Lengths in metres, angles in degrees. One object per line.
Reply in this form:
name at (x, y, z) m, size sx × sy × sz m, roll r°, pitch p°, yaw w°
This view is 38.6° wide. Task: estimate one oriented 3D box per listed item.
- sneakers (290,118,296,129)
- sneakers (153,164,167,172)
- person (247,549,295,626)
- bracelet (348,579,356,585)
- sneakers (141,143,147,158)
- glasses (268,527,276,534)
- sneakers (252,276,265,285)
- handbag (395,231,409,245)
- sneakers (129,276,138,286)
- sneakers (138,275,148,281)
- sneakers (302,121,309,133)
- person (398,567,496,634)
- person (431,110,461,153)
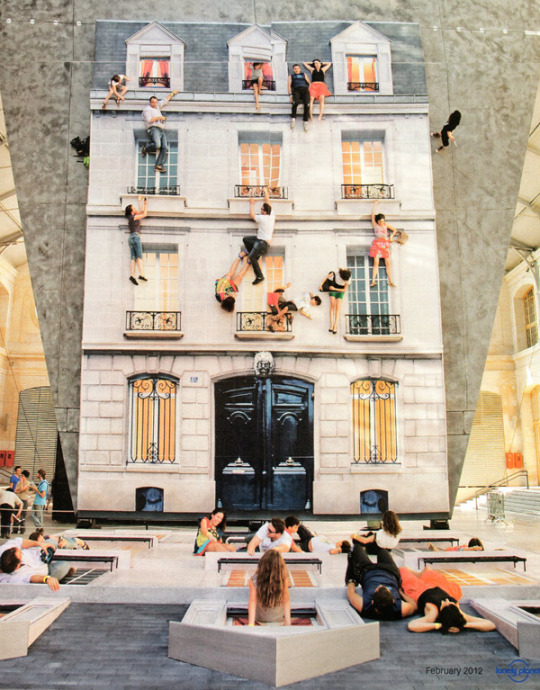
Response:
sneakers at (0.455, -4.481, 15.536) m, size 0.079 × 0.209 × 0.087 m, roll -2°, pitch 10°, yaw -3°
sneakers at (-2.188, -3.527, 15.380) m, size 0.239 × 0.150 × 0.110 m, roll -3°, pitch 6°, yaw -13°
person at (-0.029, 2.677, 8.067) m, size 0.476 × 1.090 × 0.404 m, roll 1°, pitch 13°, yaw -12°
bracelet at (0.961, 2.798, 9.143) m, size 0.058 × 0.033 × 0.077 m, roll 4°, pitch 0°, yaw -28°
sneakers at (-2.529, -3.869, 15.387) m, size 0.114 × 0.315 × 0.136 m, roll 3°, pitch 46°, yaw -5°
glasses at (0.024, 2.663, 11.136) m, size 0.101 × 0.051 × 0.128 m, roll 3°, pitch -7°, yaw -9°
sneakers at (-0.237, -1.271, 15.197) m, size 0.221 × 0.190 × 0.100 m, roll 1°, pitch 7°, yaw 8°
handbag at (2.602, -2.159, 15.405) m, size 0.282 × 0.246 × 0.088 m, roll 6°, pitch 16°, yaw -1°
sneakers at (-2.631, -1.274, 15.141) m, size 0.249 × 0.166 × 0.087 m, roll 15°, pitch 7°, yaw -21°
sneakers at (-2.503, -1.320, 15.184) m, size 0.180 × 0.070 × 0.060 m, roll 2°, pitch 6°, yaw -43°
sneakers at (0.717, -4.414, 15.547) m, size 0.078 × 0.208 × 0.151 m, roll -1°, pitch 12°, yaw 1°
person at (1.945, 2.956, 9.110) m, size 0.731 × 0.391 × 1.617 m, roll 4°, pitch 7°, yaw -6°
person at (3.625, -4.390, 15.902) m, size 0.235 × 0.829 × 0.477 m, roll 32°, pitch 10°, yaw -13°
